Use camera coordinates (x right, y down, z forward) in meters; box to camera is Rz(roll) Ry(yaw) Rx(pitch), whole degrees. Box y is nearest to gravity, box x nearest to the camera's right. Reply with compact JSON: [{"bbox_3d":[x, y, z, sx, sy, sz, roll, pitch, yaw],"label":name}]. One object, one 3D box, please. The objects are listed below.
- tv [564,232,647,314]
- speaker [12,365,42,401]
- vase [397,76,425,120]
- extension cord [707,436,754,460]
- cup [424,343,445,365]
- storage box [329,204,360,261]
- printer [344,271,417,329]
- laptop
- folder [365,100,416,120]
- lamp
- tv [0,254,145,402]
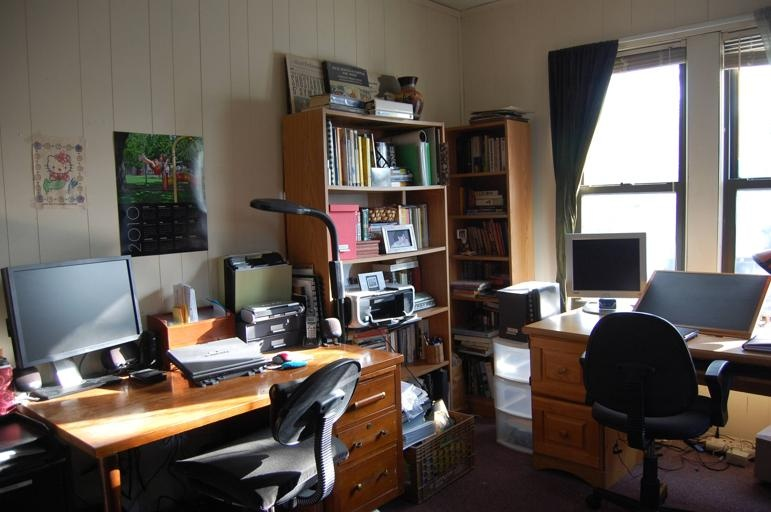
[{"bbox_3d":[1.549,0.101,4.054,0.611,0.595,0.240,1,-1,21],"label":"tv"},{"bbox_3d":[-1.876,0.653,3.040,0.151,0.143,0.152,-6,6,-37],"label":"speaker"},{"bbox_3d":[0.178,-1.208,4.429,0.205,0.317,0.219,-7,10,-28],"label":"vase"},{"bbox_3d":[2.361,1.310,3.998,0.153,0.044,0.154,4,4,42],"label":"extension cord"},{"bbox_3d":[0.383,0.766,4.630,0.145,0.187,0.189,-5,5,-43],"label":"cup"},{"bbox_3d":[-0.366,-0.177,4.071,0.245,0.381,0.312,-2,0,-33],"label":"storage box"},{"bbox_3d":[-0.048,0.298,4.091,0.575,0.356,0.405,-6,9,-44],"label":"printer"},{"bbox_3d":[-0.949,0.600,3.332,0.453,0.092,0.464,13,18,34],"label":"laptop"},{"bbox_3d":[0.057,-1.051,4.165,0.427,0.132,0.099,-9,10,-42],"label":"folder"},{"bbox_3d":[-0.439,0.108,3.516,0.394,0.932,0.685,0,8,14],"label":"lamp"},{"bbox_3d":[-1.706,0.387,3.118,0.311,0.785,0.715,-2,4,37],"label":"tv"}]
